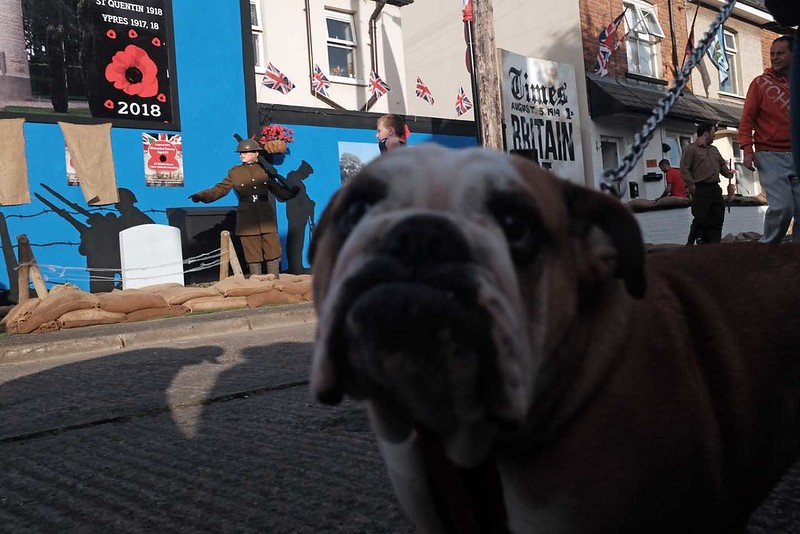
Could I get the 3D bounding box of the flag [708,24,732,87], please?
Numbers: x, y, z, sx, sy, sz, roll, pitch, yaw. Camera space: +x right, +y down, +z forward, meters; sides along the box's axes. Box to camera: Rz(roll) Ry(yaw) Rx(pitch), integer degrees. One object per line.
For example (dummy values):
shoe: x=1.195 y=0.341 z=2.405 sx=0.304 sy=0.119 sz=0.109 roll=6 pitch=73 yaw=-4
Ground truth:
flag: x=9.610 y=-6.502 z=17.855 sx=0.525 sy=1.810 sz=2.601 roll=-1 pitch=4 yaw=29

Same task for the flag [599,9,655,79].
flag: x=5.959 y=-5.994 z=15.660 sx=2.013 sy=2.477 sz=0.184 roll=5 pitch=-7 yaw=-34

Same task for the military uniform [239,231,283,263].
military uniform: x=-2.348 y=-0.341 z=10.298 sx=0.765 sy=0.801 sz=0.459 roll=-6 pitch=2 yaw=-8

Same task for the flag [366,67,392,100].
flag: x=-0.505 y=-4.240 z=13.692 sx=0.355 sy=0.592 sz=0.491 roll=-3 pitch=3 yaw=-9

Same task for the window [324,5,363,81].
window: x=-1.533 y=-5.999 z=15.943 sx=0.929 sy=1.859 sz=0.263 roll=-5 pitch=3 yaw=-36

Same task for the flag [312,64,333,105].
flag: x=-1.818 y=-4.322 z=13.701 sx=0.422 sy=1.014 sz=0.062 roll=7 pitch=-36 yaw=-21

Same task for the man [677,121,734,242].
man: x=4.785 y=-1.229 z=9.149 sx=0.667 sy=1.900 sz=0.472 roll=-1 pitch=18 yaw=27

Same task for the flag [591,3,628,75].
flag: x=5.286 y=-5.639 z=14.929 sx=0.723 sy=1.489 sz=1.240 roll=-2 pitch=3 yaw=21
